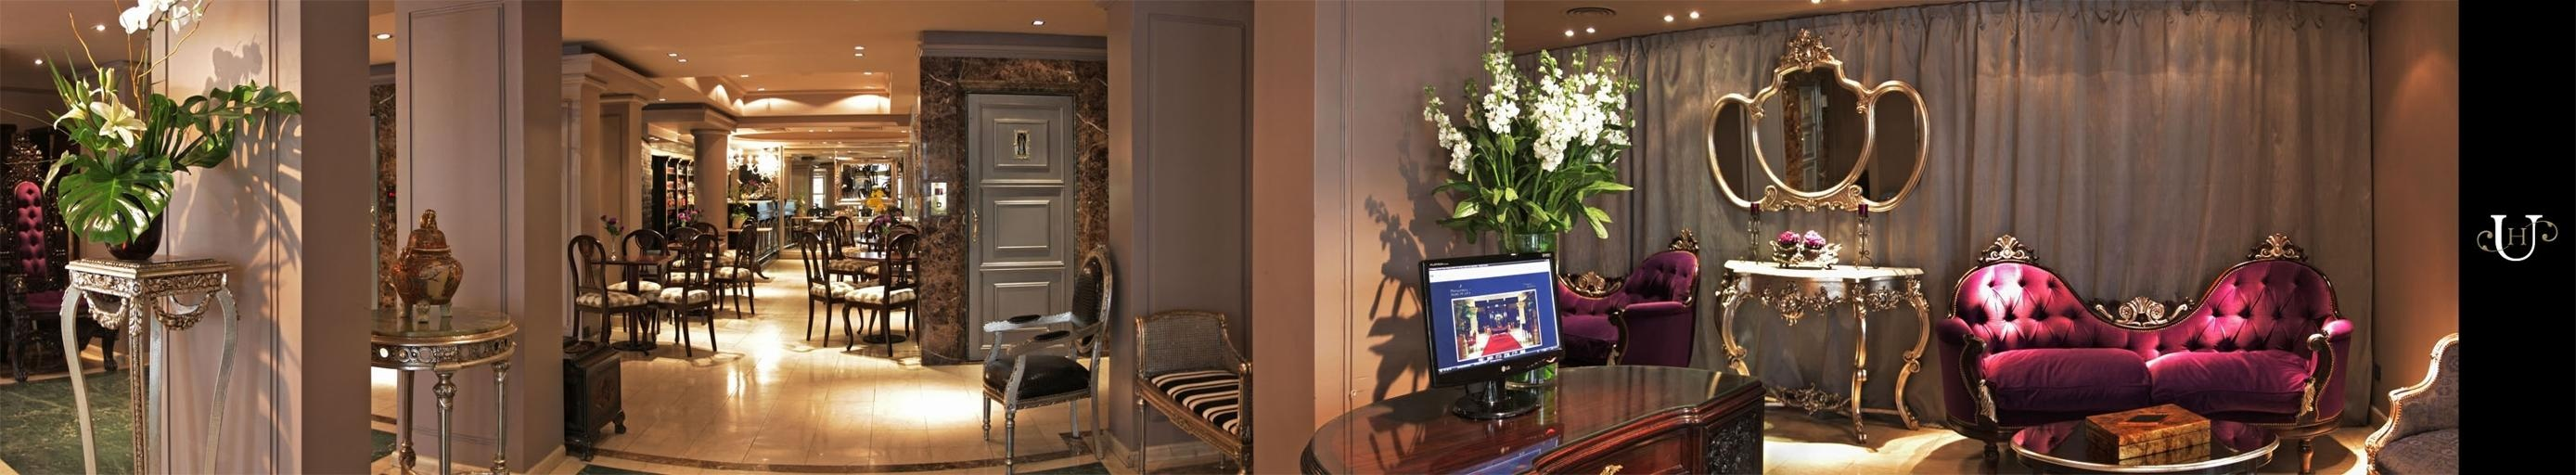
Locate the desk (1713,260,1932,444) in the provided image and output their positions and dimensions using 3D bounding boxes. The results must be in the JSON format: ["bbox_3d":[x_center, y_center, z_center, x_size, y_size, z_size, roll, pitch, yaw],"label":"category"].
[{"bbox_3d":[16.937,3.320,32.893,8.875,5.329,3.979,0,2,16],"label":"desk"}]

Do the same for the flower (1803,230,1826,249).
[{"bbox_3d":[15.365,0.044,30.973,0.705,0.423,0.311,-4,0,-5],"label":"flower"}]

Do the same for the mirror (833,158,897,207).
[{"bbox_3d":[-17.859,-2.427,45.370,5.256,2.156,0.631,4,7,40],"label":"mirror"}]
